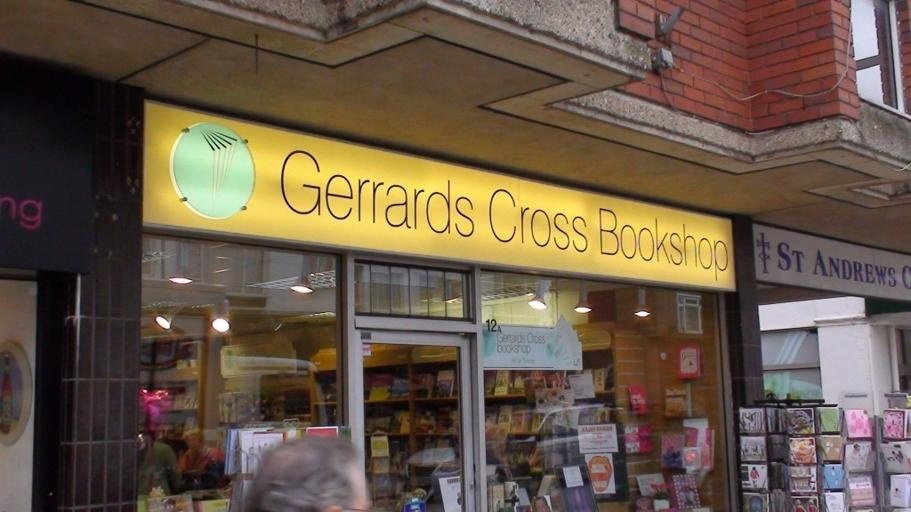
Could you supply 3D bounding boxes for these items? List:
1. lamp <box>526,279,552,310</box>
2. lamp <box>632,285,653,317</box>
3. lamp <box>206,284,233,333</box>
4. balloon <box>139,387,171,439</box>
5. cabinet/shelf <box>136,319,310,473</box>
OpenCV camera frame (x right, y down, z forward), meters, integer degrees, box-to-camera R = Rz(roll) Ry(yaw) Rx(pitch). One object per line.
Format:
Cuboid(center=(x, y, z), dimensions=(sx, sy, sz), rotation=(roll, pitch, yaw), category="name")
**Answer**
Cuboid(center=(1.010, 0.455, 10.743), dimensions=(0.283, 0.285, 0.105), rotation=(7, 9, -40), category="lamp")
Cuboid(center=(2.377, 0.593, 11.497), dimensions=(0.343, 0.462, 0.332), rotation=(-1, -6, 20), category="lamp")
Cuboid(center=(-2.348, 0.589, 9.013), dimensions=(0.257, 0.336, 0.086), rotation=(4, -5, -43), category="lamp")
Cuboid(center=(-2.890, 1.478, 8.616), dimensions=(0.283, 0.434, 0.103), rotation=(9, 8, -30), category="balloon")
Cuboid(center=(-2.312, 1.344, 8.612), dimensions=(1.500, 1.247, 0.476), rotation=(9, -11, -34), category="cabinet/shelf")
